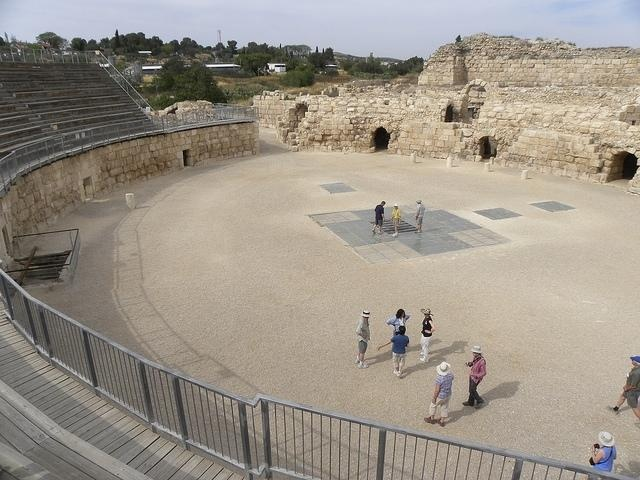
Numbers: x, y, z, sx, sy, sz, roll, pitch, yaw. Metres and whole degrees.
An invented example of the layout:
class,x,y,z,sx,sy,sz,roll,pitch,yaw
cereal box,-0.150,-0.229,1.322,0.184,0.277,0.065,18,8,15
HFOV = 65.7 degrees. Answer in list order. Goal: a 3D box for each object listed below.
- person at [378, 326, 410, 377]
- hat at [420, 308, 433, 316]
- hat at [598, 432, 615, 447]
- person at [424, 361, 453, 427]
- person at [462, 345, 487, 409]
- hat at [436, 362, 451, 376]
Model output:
class,x,y,z,sx,sy,sz,roll,pitch,yaw
person,1.753,2.432,11.140,0.366,1.149,0.696,4,20,10
hat,2.598,1.777,12.196,0.356,0.101,0.361,10,-3,42
hat,4.693,3.318,8.187,0.210,0.237,0.222,10,21,25
person,2.347,3.026,9.782,0.454,1.260,0.446,5,20,13
person,3.291,2.724,10.459,0.440,1.268,1.058,7,20,18
hat,2.436,2.531,9.731,0.283,0.108,0.302,8,45,24
